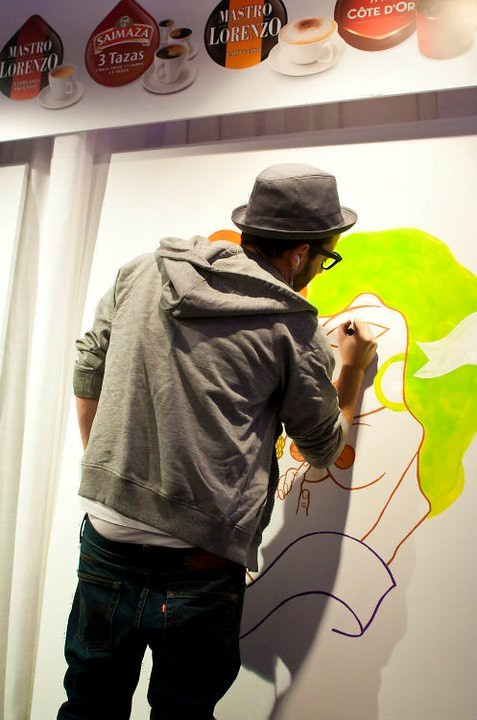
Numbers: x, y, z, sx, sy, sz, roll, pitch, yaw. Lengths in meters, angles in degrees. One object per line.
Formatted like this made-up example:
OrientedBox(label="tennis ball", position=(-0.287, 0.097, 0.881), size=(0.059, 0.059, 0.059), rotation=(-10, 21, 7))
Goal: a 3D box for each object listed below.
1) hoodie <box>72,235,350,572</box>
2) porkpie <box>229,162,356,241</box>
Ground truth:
OrientedBox(label="hoodie", position=(-0.128, 0.113, 1.231), size=(0.654, 0.665, 0.420), rotation=(9, 27, 17))
OrientedBox(label="porkpie", position=(0.114, -0.317, 1.192), size=(0.183, 0.071, 0.188), rotation=(-8, 31, -14))
